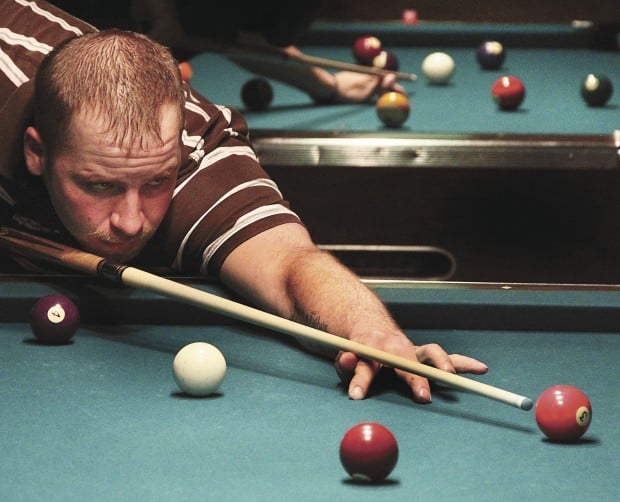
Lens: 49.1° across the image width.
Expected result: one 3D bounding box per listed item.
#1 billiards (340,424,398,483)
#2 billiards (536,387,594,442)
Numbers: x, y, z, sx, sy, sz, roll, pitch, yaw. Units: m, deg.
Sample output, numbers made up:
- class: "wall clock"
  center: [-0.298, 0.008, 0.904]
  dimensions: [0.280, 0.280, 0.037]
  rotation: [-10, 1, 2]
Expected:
- class: "billiards"
  center: [0.130, 0.448, 1.502]
  dimensions: [0.112, 0.106, 0.107]
  rotation: [10, 15, 38]
- class: "billiards"
  center: [0.644, 0.419, 1.732]
  dimensions: [0.115, 0.125, 0.117]
  rotation: [-10, 16, -40]
